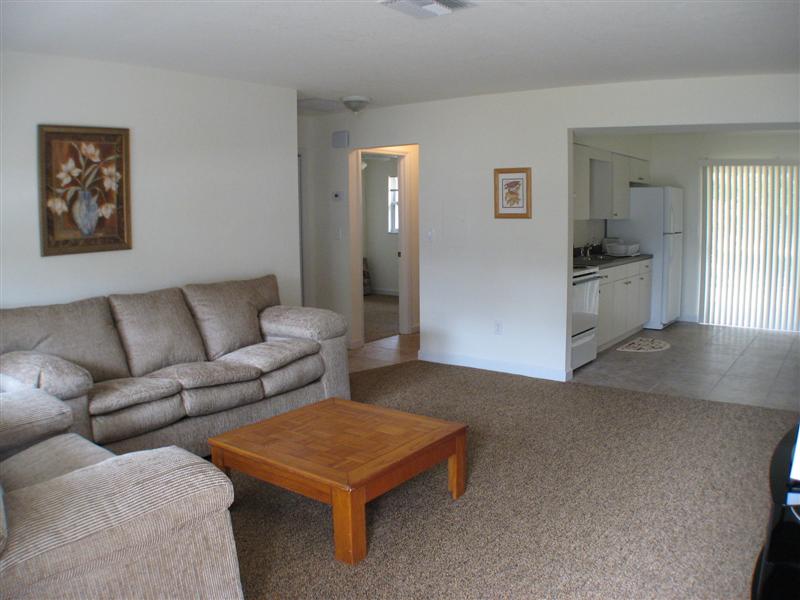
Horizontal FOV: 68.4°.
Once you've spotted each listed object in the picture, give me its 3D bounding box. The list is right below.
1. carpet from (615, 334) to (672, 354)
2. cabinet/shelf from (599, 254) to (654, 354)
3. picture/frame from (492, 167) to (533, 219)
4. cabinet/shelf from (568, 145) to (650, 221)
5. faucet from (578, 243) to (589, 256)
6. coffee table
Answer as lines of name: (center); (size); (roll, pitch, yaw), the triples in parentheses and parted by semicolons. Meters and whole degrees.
carpet: (2.934, 0.533, 6.992); (0.485, 0.024, 1.024); (7, 13, 35)
cabinet/shelf: (2.671, 0.044, 7.032); (0.629, 0.770, 1.145); (2, 7, 35)
picture/frame: (1.092, -1.046, 5.661); (0.482, 0.593, 0.044); (4, 12, 32)
cabinet/shelf: (2.513, -1.384, 7.052); (0.473, 0.831, 2.659); (5, 12, 26)
faucet: (2.368, -0.643, 7.611); (0.119, 0.120, 0.249); (5, 12, 25)
coffee table: (-0.449, 0.828, 3.246); (0.901, 0.355, 0.884); (5, 13, 40)
